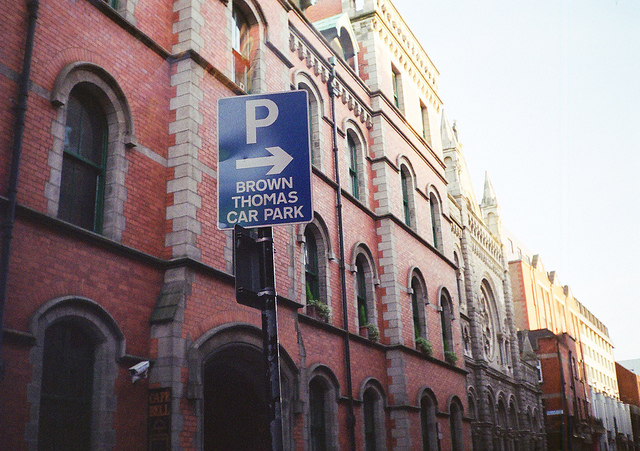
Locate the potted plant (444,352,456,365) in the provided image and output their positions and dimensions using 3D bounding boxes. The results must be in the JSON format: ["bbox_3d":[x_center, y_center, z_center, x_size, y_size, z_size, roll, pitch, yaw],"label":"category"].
[{"bbox_3d":[5.760,5.832,25.098,0.540,0.343,0.447,-11,-6,30],"label":"potted plant"}]

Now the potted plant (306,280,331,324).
[{"bbox_3d":[-0.065,2.395,17.560,0.360,1.106,0.937,-16,-28,33],"label":"potted plant"}]

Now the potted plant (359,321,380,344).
[{"bbox_3d":[1.747,3.740,20.019,0.559,0.683,0.667,-8,-24,23],"label":"potted plant"}]

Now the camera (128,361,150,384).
[{"bbox_3d":[-3.775,3.038,11.918,0.401,0.430,0.271,13,-27,-29],"label":"camera"}]
